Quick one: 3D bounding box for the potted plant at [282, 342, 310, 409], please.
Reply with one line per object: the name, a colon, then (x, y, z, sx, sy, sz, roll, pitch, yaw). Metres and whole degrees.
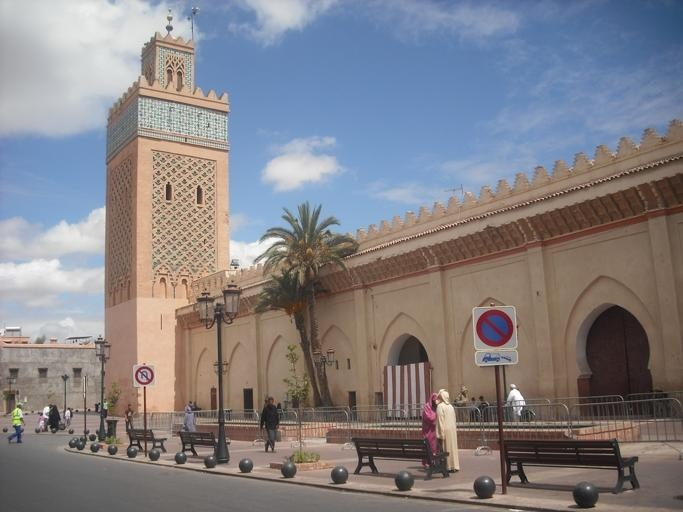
potted plant: (-2.136, 5.511, 30.729, 1.151, 3.111, 3.611, -1, -16, -5)

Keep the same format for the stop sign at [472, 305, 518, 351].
stop sign: (2.318, 1.060, 9.976, 0.640, 0.687, 0.480, -5, -16, 7)
